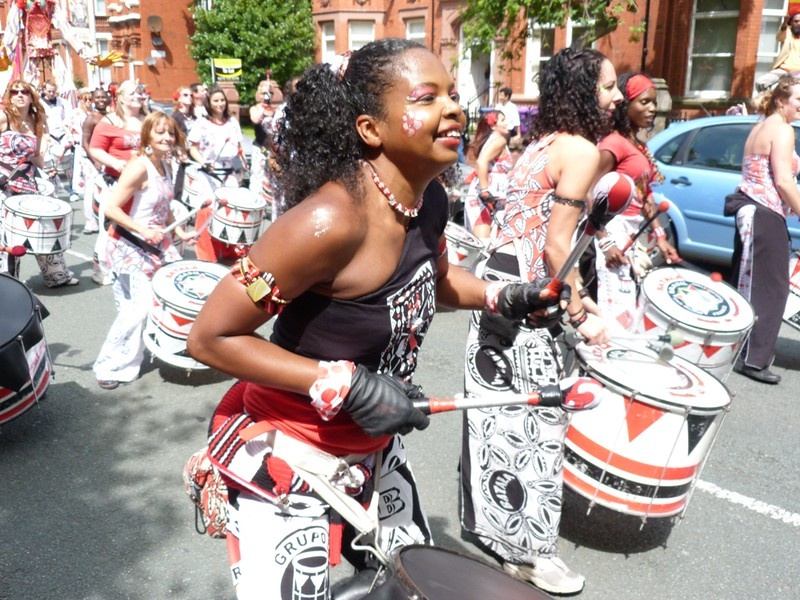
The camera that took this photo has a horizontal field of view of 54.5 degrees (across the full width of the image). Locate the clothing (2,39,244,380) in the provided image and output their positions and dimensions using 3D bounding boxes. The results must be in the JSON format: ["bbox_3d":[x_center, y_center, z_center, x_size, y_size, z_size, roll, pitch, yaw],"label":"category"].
[{"bbox_3d":[-2.701,-1.039,7.861,1.669,4.363,1.963,7,18,-2],"label":"clothing"}]

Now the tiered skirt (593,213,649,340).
[{"bbox_3d":[1.660,-0.153,5.836,0.256,0.975,0.720,3,2,19],"label":"tiered skirt"}]

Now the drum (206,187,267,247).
[{"bbox_3d":[-1.830,-0.909,8.802,0.557,0.459,0.568,-2,23,-36],"label":"drum"}]

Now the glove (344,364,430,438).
[{"bbox_3d":[-0.066,0.343,2.866,0.363,0.148,0.222,14,33,-19],"label":"glove"}]

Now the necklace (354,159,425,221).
[{"bbox_3d":[-0.040,-0.408,2.946,0.056,0.235,0.174,-26,9,28],"label":"necklace"}]

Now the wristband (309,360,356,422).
[{"bbox_3d":[-0.247,0.332,2.833,0.150,0.200,0.084,19,-5,9],"label":"wristband"}]

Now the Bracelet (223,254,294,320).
[{"bbox_3d":[-0.506,-0.045,2.770,0.197,0.215,0.089,14,26,27],"label":"Bracelet"}]

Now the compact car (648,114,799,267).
[{"bbox_3d":[4.034,-1.353,8.767,2.391,1.252,1.338,-2,9,26],"label":"compact car"}]

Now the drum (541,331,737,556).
[{"bbox_3d":[1.342,0.775,4.356,0.796,0.774,0.797,10,15,-4],"label":"drum"}]

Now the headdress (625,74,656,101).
[{"bbox_3d":[1.683,-1.500,5.474,0.193,0.176,0.093,7,24,14],"label":"headdress"}]
